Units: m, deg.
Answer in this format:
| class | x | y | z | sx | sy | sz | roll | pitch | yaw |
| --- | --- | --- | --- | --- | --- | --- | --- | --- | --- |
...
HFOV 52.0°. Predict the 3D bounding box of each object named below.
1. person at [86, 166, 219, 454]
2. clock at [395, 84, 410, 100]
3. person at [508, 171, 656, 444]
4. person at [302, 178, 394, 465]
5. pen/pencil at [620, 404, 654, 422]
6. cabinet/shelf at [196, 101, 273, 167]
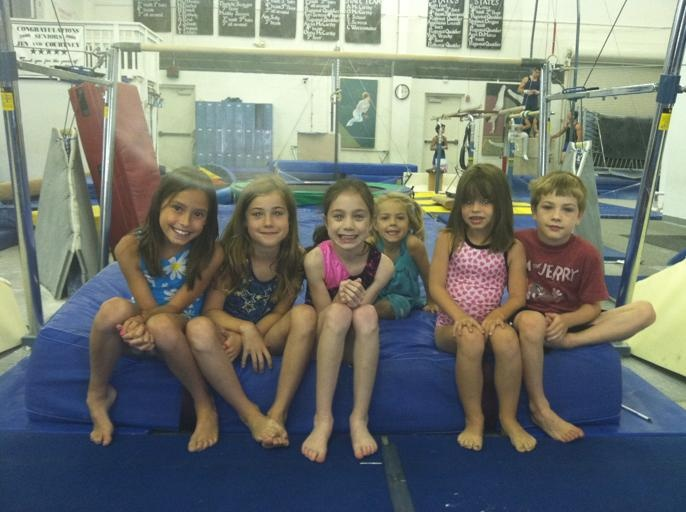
| class | x | y | z | sx | sy | sz | roll | pitch | yaw |
| --- | --- | --- | --- | --- | --- | --- | --- | --- | --- |
| person | -0.795 | 0.214 | 2.962 | 0.590 | 1.072 | 0.560 | -2 | 18 | -11 |
| clock | 0.751 | -2.081 | 8.874 | 0.159 | 0.168 | 0.031 | -7 | 5 | -4 |
| person | 1.000 | 0.202 | 3.086 | 0.627 | 1.039 | 0.560 | 13 | 21 | 31 |
| person | 0.014 | 0.245 | 2.997 | 0.389 | 1.066 | 0.615 | 2 | 18 | 3 |
| pen/pencil | 1.329 | 0.712 | 3.181 | 0.019 | 0.027 | 0.181 | -21 | 22 | -12 |
| cabinet/shelf | -1.335 | -1.506 | 8.629 | 0.950 | 0.741 | 0.425 | -2 | 18 | -9 |
